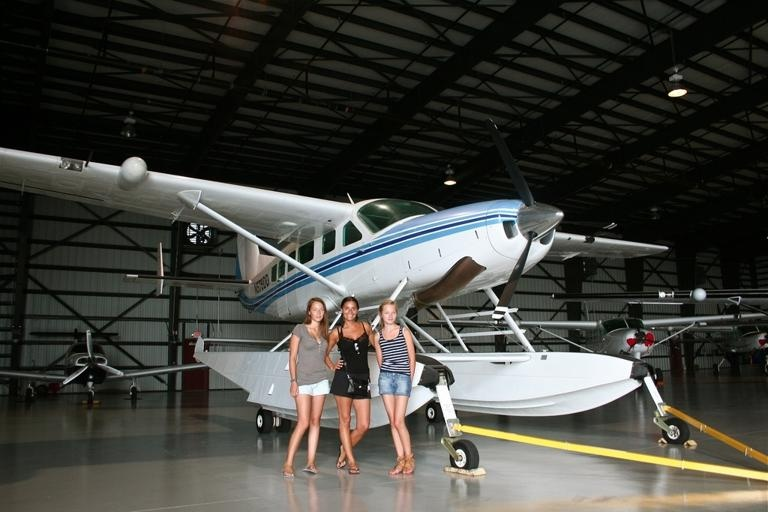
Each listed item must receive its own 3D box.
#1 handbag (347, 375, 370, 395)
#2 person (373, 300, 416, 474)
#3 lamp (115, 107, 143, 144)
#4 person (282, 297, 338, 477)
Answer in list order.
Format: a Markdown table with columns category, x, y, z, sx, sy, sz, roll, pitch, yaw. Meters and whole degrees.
| category | x | y | z | sx | sy | sz | roll | pitch | yaw |
| --- | --- | --- | --- | --- | --- | --- | --- | --- | --- |
| handbag | -0.371 | 1.768 | 7.886 | 0.335 | 0.212 | 0.102 | 3 | -21 | -11 |
| person | 0.155 | 1.787 | 7.938 | 0.558 | 2.370 | 0.604 | -1 | -14 | 1 |
| lamp | -7.947 | -4.080 | 17.851 | 0.789 | 1.130 | 0.648 | 7 | -29 | -17 |
| person | -1.058 | 1.781 | 7.975 | 0.594 | 2.417 | 0.634 | 2 | -14 | -9 |
